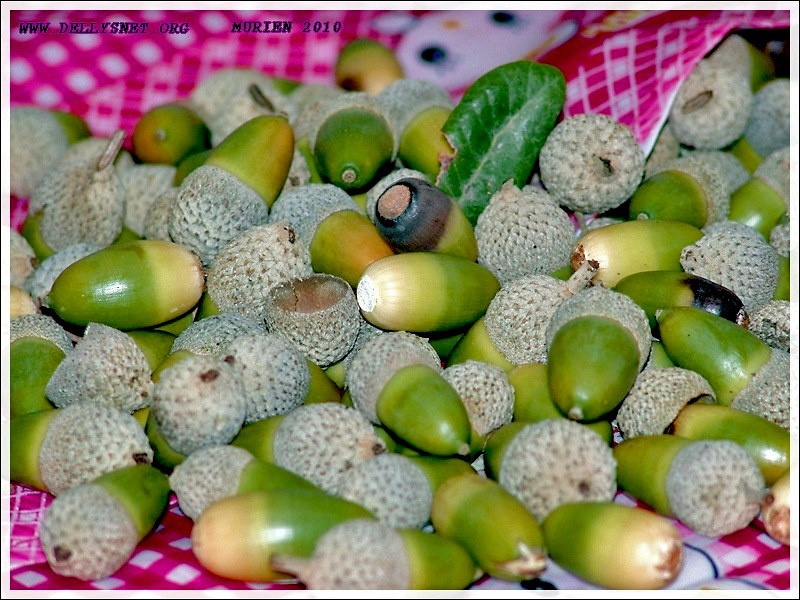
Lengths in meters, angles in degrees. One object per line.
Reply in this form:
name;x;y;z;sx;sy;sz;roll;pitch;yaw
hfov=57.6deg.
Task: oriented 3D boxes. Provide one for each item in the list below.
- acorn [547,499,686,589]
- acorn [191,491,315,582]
acorn;0.364;0.413;1.208;0.243;0.165;0.138;9;82;2
acorn;-0.248;0.417;1.273;0.241;0.129;0.147;0;97;6
